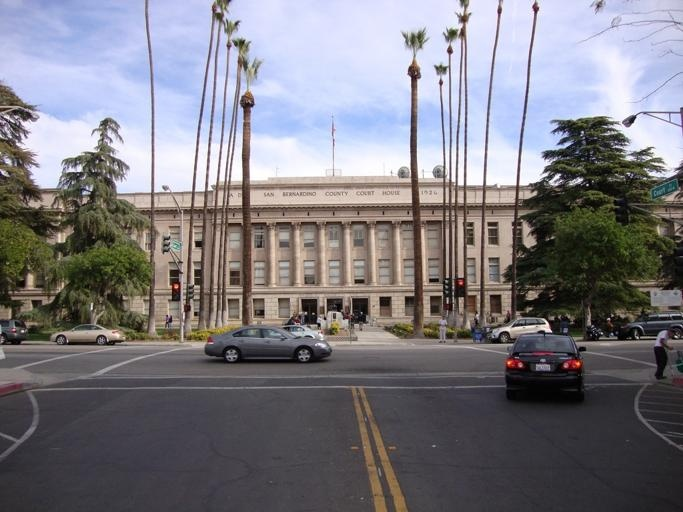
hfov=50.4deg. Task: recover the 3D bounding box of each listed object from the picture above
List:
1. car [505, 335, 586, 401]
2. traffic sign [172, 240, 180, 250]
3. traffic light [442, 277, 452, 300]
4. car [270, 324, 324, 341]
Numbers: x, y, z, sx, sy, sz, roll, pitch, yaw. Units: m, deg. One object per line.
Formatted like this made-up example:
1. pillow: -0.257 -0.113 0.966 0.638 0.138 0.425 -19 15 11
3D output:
1. car: 5.741 3.216 20.505 2.065 1.548 1.189 0 -1 16
2. traffic sign: -9.790 -0.625 42.831 0.125 0.495 0.528 -2 -6 13
3. traffic light: 6.977 2.105 47.235 0.499 1.144 0.945 0 -1 11
4. car: -2.455 4.518 40.561 2.655 0.898 1.348 0 -2 2
